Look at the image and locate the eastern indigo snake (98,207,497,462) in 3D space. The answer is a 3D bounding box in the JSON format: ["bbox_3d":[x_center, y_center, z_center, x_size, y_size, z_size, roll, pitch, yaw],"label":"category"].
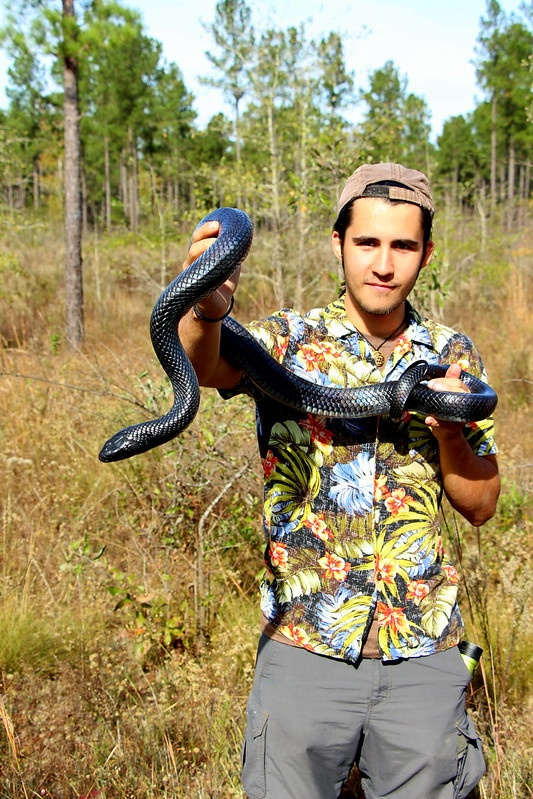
[{"bbox_3d":[0.103,-0.170,2.728,1.087,0.375,1.039,-18,48,-35],"label":"eastern indigo snake"}]
